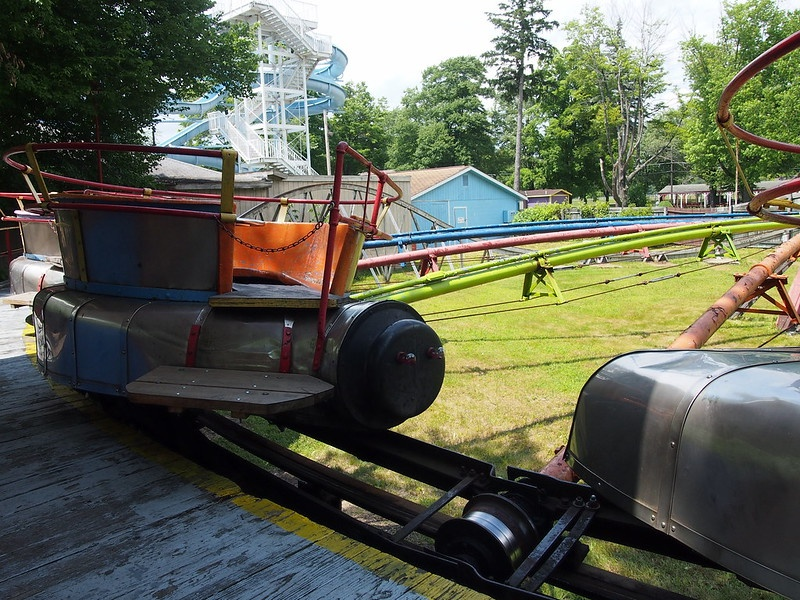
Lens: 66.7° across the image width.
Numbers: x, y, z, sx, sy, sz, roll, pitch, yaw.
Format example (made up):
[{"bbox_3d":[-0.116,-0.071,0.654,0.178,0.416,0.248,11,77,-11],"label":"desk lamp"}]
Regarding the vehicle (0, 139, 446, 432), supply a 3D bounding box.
[{"bbox_3d":[-1.274,-0.053,4.491,2.981,1.532,2.209,13,12,37],"label":"vehicle"}]
